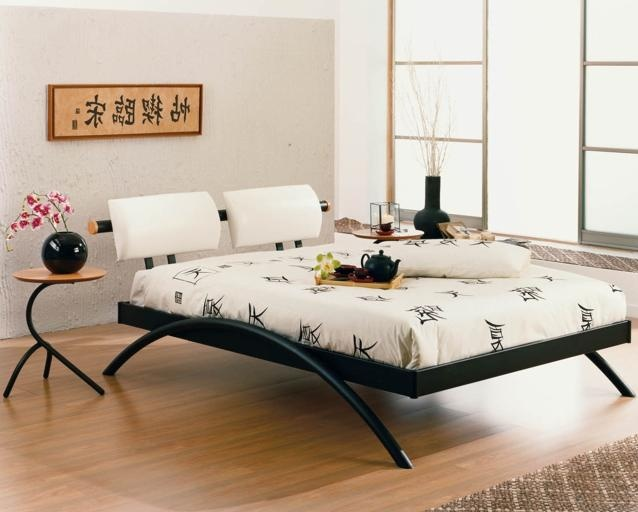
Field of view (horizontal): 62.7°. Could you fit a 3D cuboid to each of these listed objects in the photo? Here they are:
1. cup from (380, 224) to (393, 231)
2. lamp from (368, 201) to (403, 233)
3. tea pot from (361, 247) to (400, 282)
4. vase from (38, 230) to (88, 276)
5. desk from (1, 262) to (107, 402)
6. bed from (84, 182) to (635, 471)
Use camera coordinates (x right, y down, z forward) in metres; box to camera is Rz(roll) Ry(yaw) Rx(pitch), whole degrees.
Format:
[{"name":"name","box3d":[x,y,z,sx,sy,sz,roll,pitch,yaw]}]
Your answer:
[{"name":"cup","box3d":[0.573,-0.233,4.316,0.077,0.044,0.074,-2,6,0]},{"name":"lamp","box3d":[0.644,-0.335,4.457,0.336,0.273,0.309,1,6,17]},{"name":"tea pot","box3d":[0.294,0.058,2.695,0.210,0.110,0.138,1,6,33]},{"name":"vase","box3d":[-1.411,-0.017,2.932,0.290,0.212,0.259,-1,4,-25]},{"name":"desk","box3d":[-1.770,0.511,3.474,0.770,0.693,0.621,4,15,-1]},{"name":"bed","box3d":[-0.051,0.205,2.907,1.864,0.824,2.342,-6,8,-44]}]
